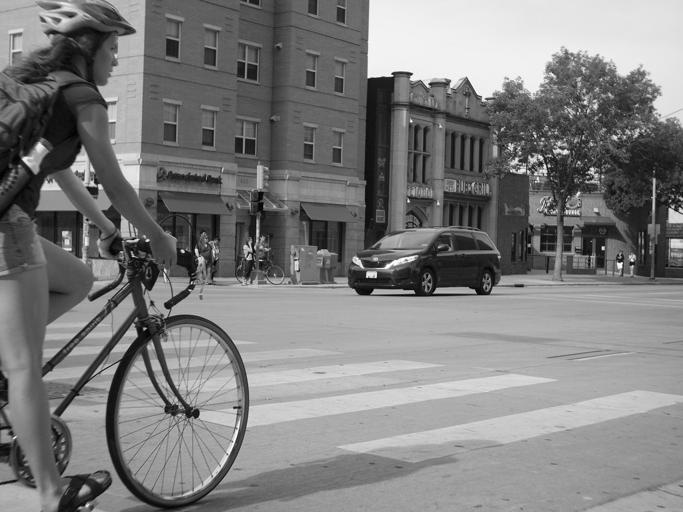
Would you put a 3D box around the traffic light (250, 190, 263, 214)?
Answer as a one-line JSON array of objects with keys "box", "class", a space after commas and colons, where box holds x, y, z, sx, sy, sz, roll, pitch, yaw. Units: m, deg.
[{"box": [-3.042, -1.954, 28.150, 0.396, 0.832, 0.489, 1, -2, 5], "class": "traffic light"}]

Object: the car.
[{"box": [2.756, 0.140, 24.117, 2.096, 2.150, 5.562, 0, -3, 44], "class": "car"}]

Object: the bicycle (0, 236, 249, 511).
[{"box": [-1.180, 0.674, 4.460, 0.751, 1.043, 1.575, 1, 5, 33], "class": "bicycle"}]
